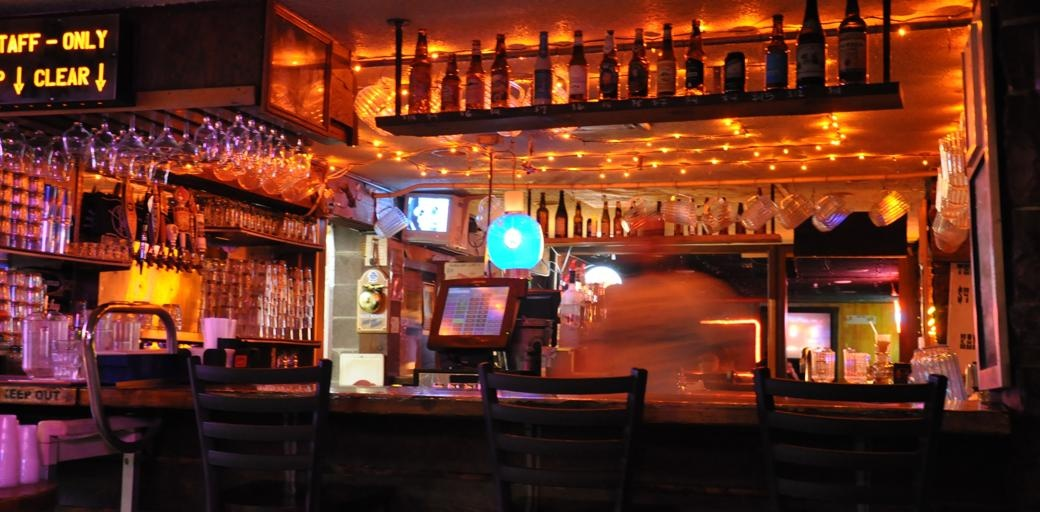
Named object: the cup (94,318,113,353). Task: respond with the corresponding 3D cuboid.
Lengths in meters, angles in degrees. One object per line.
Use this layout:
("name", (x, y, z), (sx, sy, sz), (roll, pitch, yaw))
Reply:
("cup", (-3.415, 0.669, 8.539), (0.115, 0.276, 0.118), (-2, -6, 0))

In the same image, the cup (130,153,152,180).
("cup", (-3.482, -0.822, 9.554), (0.274, 0.216, 0.229), (4, -1, -12))

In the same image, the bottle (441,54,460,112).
("bottle", (-0.636, -1.536, 9.211), (0.167, 0.591, 0.381), (0, -6, -2))

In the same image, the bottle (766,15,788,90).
("bottle", (2.163, -1.710, 8.732), (0.178, 0.701, 0.389), (-2, -6, 13))

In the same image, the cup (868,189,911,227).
("cup", (4.337, -0.559, 12.082), (0.433, 0.353, 0.351), (-38, -27, -8))

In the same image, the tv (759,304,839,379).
("tv", (5.463, 1.509, 18.561), (0.912, 1.116, 1.472), (6, -6, -28))

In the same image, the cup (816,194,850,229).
("cup", (3.486, -0.492, 11.510), (0.310, 0.276, 0.549), (-33, -4, 34))

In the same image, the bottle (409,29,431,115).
("bottle", (-0.908, -1.625, 9.208), (0.201, 0.794, 0.291), (0, -6, -7))

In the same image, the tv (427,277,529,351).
("tv", (-0.389, 0.524, 9.453), (0.958, 0.664, 0.384), (-4, -4, 32))

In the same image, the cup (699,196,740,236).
("cup", (2.357, -0.447, 12.226), (0.491, 0.407, 0.622), (8, 24, 33))

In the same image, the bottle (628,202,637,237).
("bottle", (1.323, -0.482, 11.991), (0.132, 0.297, 0.294), (-1, -6, 6))

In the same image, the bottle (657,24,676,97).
("bottle", (1.239, -1.686, 8.835), (0.151, 0.704, 0.343), (-1, -6, 6))

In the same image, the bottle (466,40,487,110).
("bottle", (-0.412, -1.593, 9.173), (0.191, 0.683, 0.381), (0, -6, -3))

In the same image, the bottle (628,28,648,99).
("bottle", (1.007, -1.646, 8.877), (0.164, 0.622, 0.277), (-1, -6, 5))

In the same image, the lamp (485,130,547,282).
("lamp", (-0.073, -0.422, 10.777), (0.668, 1.020, 0.551), (0, 6, 8))

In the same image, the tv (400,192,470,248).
("tv", (-1.170, -0.498, 14.152), (0.934, 0.604, 0.813), (3, -1, 6))

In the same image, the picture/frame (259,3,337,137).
("picture/frame", (-1.974, -1.654, 9.066), (0.149, 1.132, 1.316), (-4, -8, 28))

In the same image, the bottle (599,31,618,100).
("bottle", (0.758, -1.638, 8.965), (0.157, 0.633, 0.353), (-1, -6, 4))

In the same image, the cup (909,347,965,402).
("cup", (3.326, 1.002, 8.406), (0.424, 0.486, 0.457), (-3, -9, -1))

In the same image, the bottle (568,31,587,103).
("bottle", (0.489, -1.618, 8.923), (0.154, 0.622, 0.269), (-1, -6, 2))
